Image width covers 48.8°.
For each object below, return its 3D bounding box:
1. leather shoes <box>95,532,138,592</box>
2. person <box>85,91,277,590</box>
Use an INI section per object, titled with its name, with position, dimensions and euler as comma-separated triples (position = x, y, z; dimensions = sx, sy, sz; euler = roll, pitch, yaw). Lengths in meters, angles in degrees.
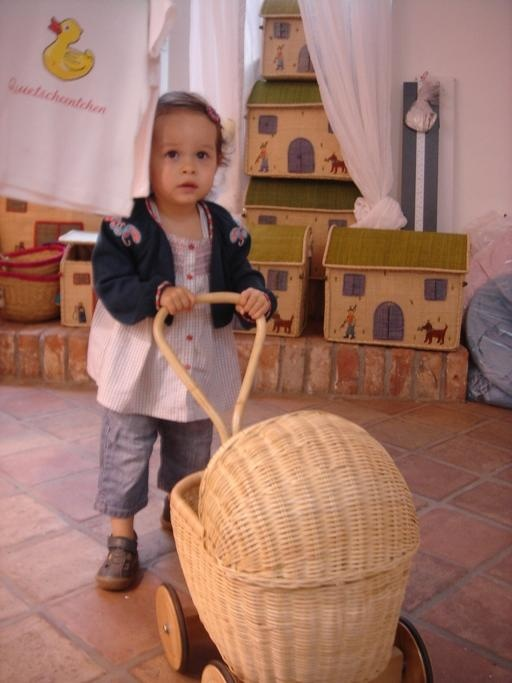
[leather shoes]
position = -0.280, 0.440, 1.139
dimensions = 0.050, 0.058, 0.128
euler = 2, 12, -1
[person]
position = -0.142, 0.002, 1.099
dimensions = 0.400, 0.909, 0.370
euler = 5, 6, 29
